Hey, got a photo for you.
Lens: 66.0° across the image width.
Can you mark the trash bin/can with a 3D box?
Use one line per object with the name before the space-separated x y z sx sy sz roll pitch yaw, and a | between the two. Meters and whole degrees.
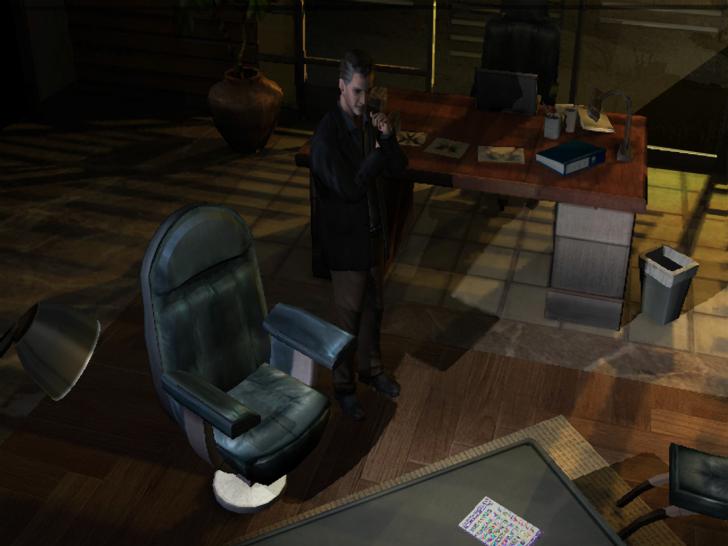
trash bin/can | 2.321 0.118 4.275 0.342 0.484 0.337 -26 42 -33
